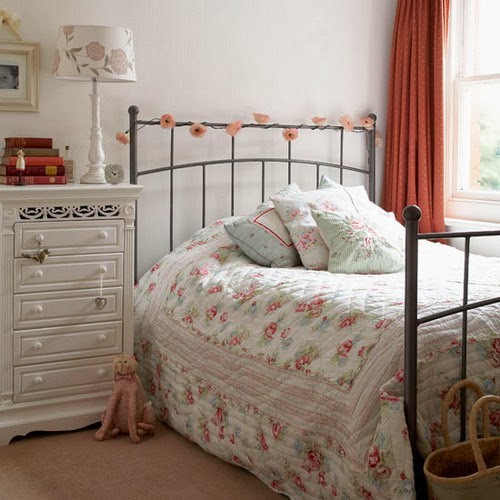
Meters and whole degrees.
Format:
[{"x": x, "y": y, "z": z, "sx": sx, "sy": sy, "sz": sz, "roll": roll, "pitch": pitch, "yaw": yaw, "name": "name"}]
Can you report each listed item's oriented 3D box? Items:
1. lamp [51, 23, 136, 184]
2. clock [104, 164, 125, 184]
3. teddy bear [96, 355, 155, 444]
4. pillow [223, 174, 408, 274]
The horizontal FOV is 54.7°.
[{"x": -0.699, "y": -0.673, "z": 2.194, "sx": 0.344, "sy": 0.753, "sz": 0.385, "roll": -1, "pitch": 5, "yaw": -14, "name": "lamp"}, {"x": -0.596, "y": -0.332, "z": 2.122, "sx": 0.095, "sy": 0.079, "sz": 0.025, "roll": -2, "pitch": -1, "yaw": -30, "name": "clock"}, {"x": -0.511, "y": 0.590, "z": 1.932, "sx": 0.270, "sy": 0.288, "sz": 0.240, "roll": 4, "pitch": -15, "yaw": -28, "name": "teddy bear"}, {"x": 0.307, "y": -0.097, "z": 2.213, "sx": 0.550, "sy": 0.187, "sz": 0.567, "roll": 10, "pitch": 6, "yaw": 0, "name": "pillow"}]
